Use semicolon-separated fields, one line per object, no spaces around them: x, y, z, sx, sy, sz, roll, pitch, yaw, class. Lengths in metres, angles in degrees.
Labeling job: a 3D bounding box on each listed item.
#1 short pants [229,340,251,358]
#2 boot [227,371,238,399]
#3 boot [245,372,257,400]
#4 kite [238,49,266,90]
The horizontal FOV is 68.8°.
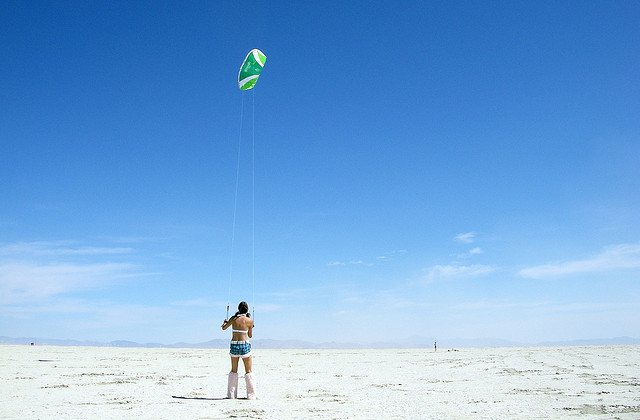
-2.788;4.700;15.881;0.658;0.598;0.520;0;-22;-11;short pants
-3.044;5.952;15.925;0.318;0.854;0.294;2;-23;-14;boot
-2.418;5.971;15.897;0.369;0.858;0.497;-1;-22;-7;boot
-2.679;-5.705;19.306;0.510;1.991;1.336;0;-30;-16;kite
